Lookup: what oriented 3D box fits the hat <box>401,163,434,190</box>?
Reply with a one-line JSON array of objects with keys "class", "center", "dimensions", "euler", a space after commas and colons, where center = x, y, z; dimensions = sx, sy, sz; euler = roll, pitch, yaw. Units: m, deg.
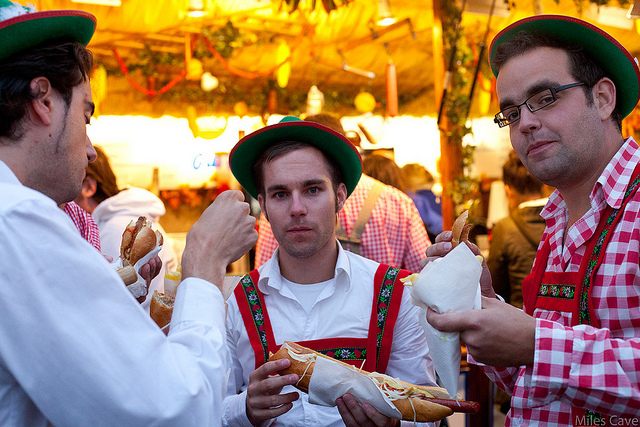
[{"class": "hat", "center": [1.349, -0.506, 8.934], "dimensions": [0.373, 0.369, 0.619], "euler": [-4, -1, -1]}]

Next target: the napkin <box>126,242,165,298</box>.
[{"class": "napkin", "center": [-0.832, 0.267, 3.093], "dimensions": [0.096, 0.257, 0.308], "euler": [-4, 0, 4]}]

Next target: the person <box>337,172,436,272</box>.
[{"class": "person", "center": [0.454, 0.074, 4.670], "dimensions": [0.666, 0.670, 0.272], "euler": [-15, 6, -4]}]

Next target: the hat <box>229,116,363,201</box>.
[{"class": "hat", "center": [-0.122, -0.303, 3.759], "dimensions": [0.704, 0.329, 0.852], "euler": [-3, -29, 4]}]

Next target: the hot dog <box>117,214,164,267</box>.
[{"class": "hot dog", "center": [-0.863, 0.154, 3.165], "dimensions": [0.167, 0.236, 0.095], "euler": [12, -16, 25]}]
